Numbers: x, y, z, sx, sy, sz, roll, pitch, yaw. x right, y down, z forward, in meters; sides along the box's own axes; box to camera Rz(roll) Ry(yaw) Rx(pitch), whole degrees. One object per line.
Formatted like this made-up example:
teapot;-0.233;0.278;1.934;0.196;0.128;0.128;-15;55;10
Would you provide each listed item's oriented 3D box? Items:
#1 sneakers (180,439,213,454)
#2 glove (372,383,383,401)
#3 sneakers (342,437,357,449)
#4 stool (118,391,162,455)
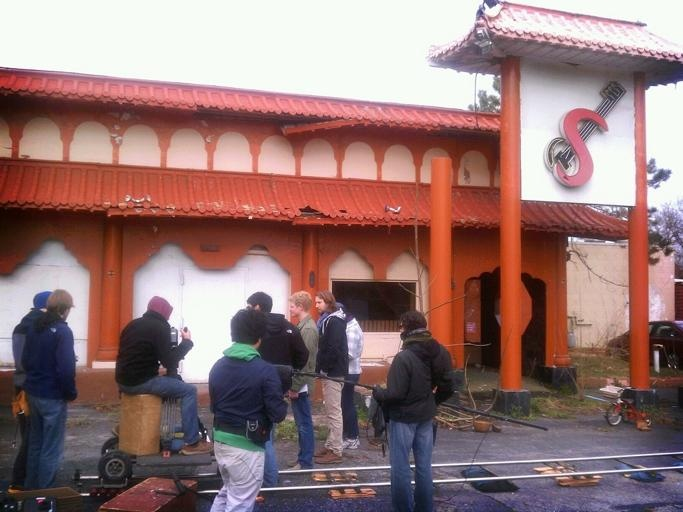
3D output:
sneakers;-2.089;2.729;9.489;0.424;0.204;0.170;-1;0;-19
glove;0.493;1.797;8.677;0.130;0.187;0.306;2;2;0
sneakers;0.165;3.201;11.226;0.312;0.158;0.113;8;-12;-23
stool;-3.029;2.420;9.599;0.689;0.906;0.749;-1;-7;12
